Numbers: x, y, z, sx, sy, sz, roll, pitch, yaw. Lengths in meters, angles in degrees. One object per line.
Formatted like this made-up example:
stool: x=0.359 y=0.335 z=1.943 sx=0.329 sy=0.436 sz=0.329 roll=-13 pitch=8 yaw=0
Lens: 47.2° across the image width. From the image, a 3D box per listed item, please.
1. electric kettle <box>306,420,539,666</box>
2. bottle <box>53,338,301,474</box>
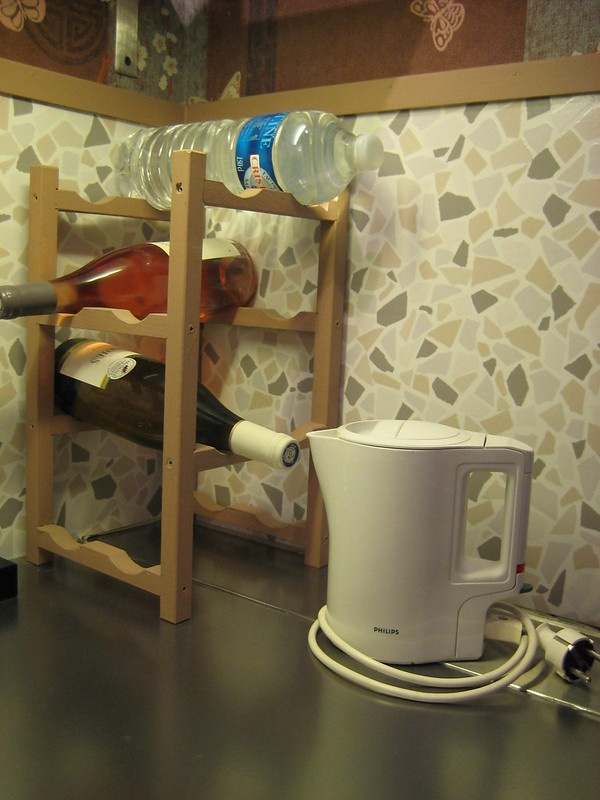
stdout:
electric kettle: x=0.119 y=0.143 z=0.712 sx=0.227 sy=0.216 sz=0.151 roll=4 pitch=6 yaw=25
bottle: x=-0.149 y=0.000 z=0.863 sx=0.416 sy=0.137 sz=0.153 roll=7 pitch=8 yaw=42
